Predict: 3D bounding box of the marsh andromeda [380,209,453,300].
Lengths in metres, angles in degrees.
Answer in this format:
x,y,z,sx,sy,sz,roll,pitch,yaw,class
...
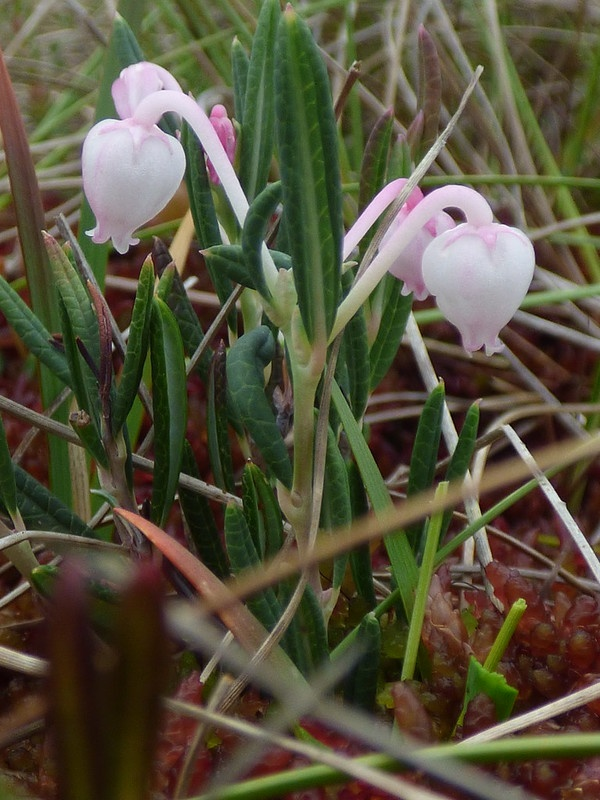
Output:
x,y,z,sx,sy,sz,roll,pitch,yaw,class
0.086,-0.139,0.770,0.054,0.065,0.072,-7,48,4,marsh andromeda

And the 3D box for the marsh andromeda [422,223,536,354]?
x,y,z,sx,sy,sz,roll,pitch,yaw,class
0.125,-0.088,0.684,0.084,0.100,0.079,-5,-8,39,marsh andromeda

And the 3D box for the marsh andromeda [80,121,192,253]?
x,y,z,sx,sy,sz,roll,pitch,yaw,class
-0.127,-0.172,0.722,0.075,0.106,0.076,19,26,6,marsh andromeda
